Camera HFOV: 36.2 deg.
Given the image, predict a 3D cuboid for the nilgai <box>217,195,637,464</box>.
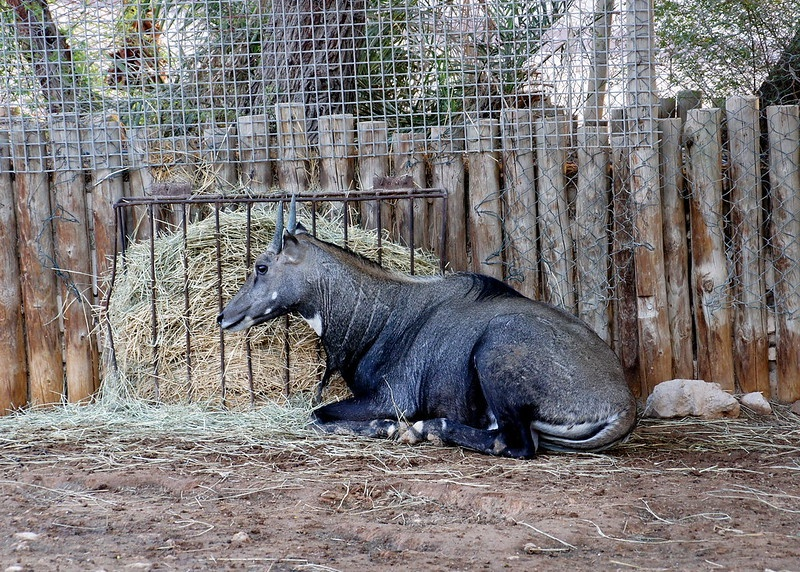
[{"bbox_3d":[0.476,0.424,9.627,3.600,2.091,1.483,4,-5,24],"label":"nilgai"}]
